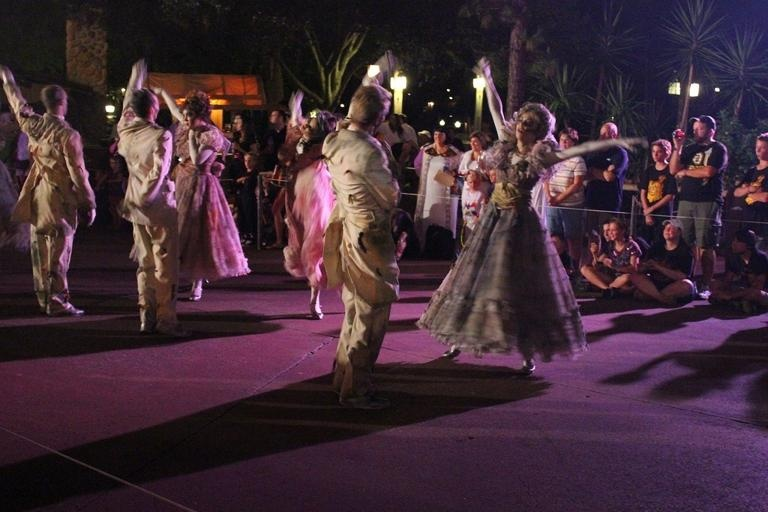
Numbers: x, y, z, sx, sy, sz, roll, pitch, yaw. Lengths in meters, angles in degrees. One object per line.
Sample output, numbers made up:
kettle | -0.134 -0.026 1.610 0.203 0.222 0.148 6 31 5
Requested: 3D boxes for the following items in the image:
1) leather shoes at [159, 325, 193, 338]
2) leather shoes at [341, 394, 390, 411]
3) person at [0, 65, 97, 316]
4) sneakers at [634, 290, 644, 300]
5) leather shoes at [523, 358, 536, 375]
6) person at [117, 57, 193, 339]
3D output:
leather shoes | -1.913 0.679 5.400 0.323 0.132 0.111 1 6 -11
leather shoes | -0.131 0.986 4.054 0.333 0.126 0.119 -2 1 -1
person | -3.371 -0.593 6.069 0.803 2.321 0.408 6 6 34
sneakers | 3.138 0.481 7.312 0.120 0.059 0.112 6 18 -2
leather shoes | 1.137 0.869 4.667 0.109 0.153 0.077 -2 45 18
person | -2.132 -0.551 5.451 0.813 2.503 0.385 6 6 33
